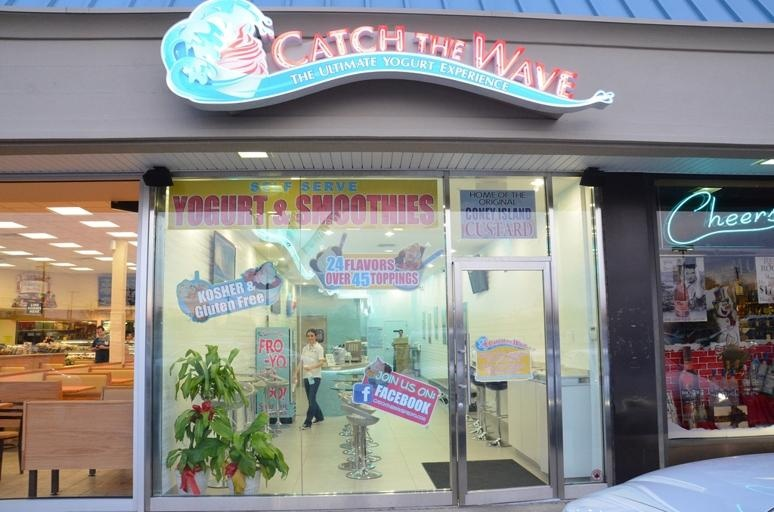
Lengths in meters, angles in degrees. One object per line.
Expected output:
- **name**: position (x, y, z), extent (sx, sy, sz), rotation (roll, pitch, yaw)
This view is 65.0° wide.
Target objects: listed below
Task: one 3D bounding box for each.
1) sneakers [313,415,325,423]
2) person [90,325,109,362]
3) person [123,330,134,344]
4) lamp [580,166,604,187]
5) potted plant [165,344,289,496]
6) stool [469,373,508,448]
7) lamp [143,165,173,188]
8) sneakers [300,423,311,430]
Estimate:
- **sneakers**: position (-0.851, 2.067, 7.634), extent (0.169, 0.108, 0.055), rotation (2, -10, 2)
- **person**: position (-7.441, 2.298, 15.852), extent (0.348, 0.935, 0.878), rotation (0, -9, -25)
- **person**: position (-9.052, 2.808, 21.407), extent (0.222, 0.547, 1.012), rotation (1, -9, -27)
- **lamp**: position (2.697, -1.039, 7.937), extent (0.266, 0.223, 0.133), rotation (3, 9, -1)
- **potted plant**: position (-2.018, 2.027, 7.519), extent (1.422, 1.837, 0.615), rotation (-2, -9, -10)
- **stool**: position (1.324, 1.950, 7.715), extent (0.428, 0.962, 0.197), rotation (1, -10, -28)
- **lamp**: position (-2.897, -0.994, 7.725), extent (0.398, 0.243, 0.331), rotation (-1, -2, 5)
- **sneakers**: position (-1.014, 2.147, 7.625), extent (0.135, 0.041, 0.050), rotation (1, 17, 2)
